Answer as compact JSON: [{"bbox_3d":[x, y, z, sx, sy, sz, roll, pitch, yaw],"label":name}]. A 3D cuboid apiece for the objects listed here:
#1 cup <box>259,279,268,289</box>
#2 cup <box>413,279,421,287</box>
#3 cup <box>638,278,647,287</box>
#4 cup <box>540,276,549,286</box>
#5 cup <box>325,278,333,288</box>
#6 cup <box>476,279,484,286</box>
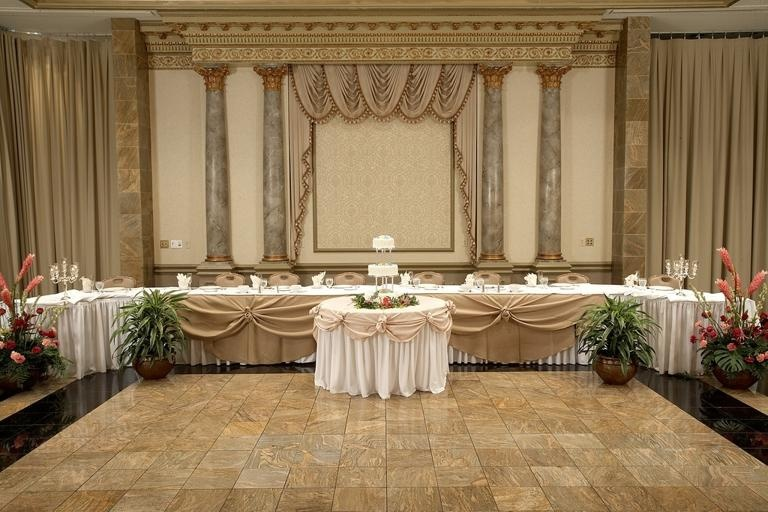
[{"bbox_3d":[-1.742,0.395,8.228,0.113,0.205,0.111,0,-5,0],"label":"cup"},{"bbox_3d":[0.484,0.382,8.254,0.124,0.123,0.093,1,5,9],"label":"cup"},{"bbox_3d":[3.996,0.397,8.677,0.135,0.118,0.146,0,3,0],"label":"cup"},{"bbox_3d":[2.441,0.367,8.549,0.078,0.145,0.151,0,-6,5],"label":"cup"},{"bbox_3d":[-0.821,0.377,8.158,0.128,0.184,0.129,-1,-5,0],"label":"cup"},{"bbox_3d":[1.410,0.382,8.307,0.106,0.136,0.201,-2,-3,32],"label":"cup"}]
